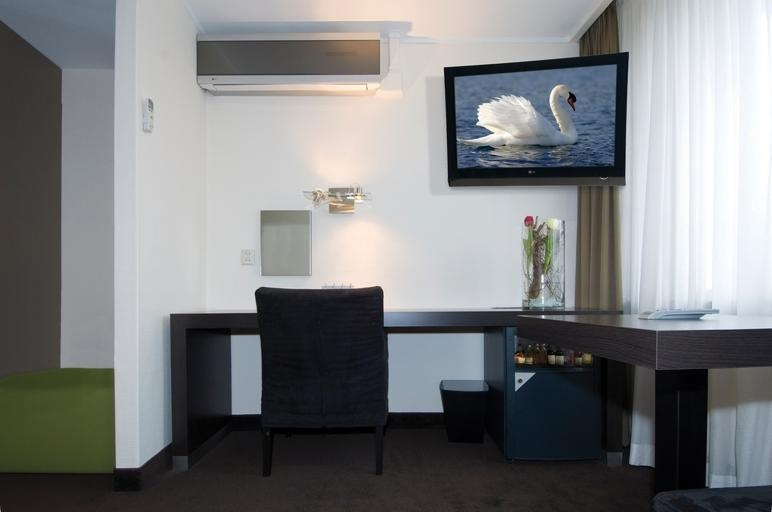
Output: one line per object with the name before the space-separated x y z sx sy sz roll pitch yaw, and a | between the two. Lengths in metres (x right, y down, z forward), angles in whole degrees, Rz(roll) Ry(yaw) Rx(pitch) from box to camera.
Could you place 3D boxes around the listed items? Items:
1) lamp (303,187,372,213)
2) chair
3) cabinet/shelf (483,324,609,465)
lamp | -0.406 -0.447 5.579 0.532 0.220 0.149 0 12 -2
chair | -0.445 0.779 4.546 0.679 1.077 0.629 3 4 5
cabinet/shelf | 1.159 0.970 4.977 0.758 0.914 0.700 1 2 3
